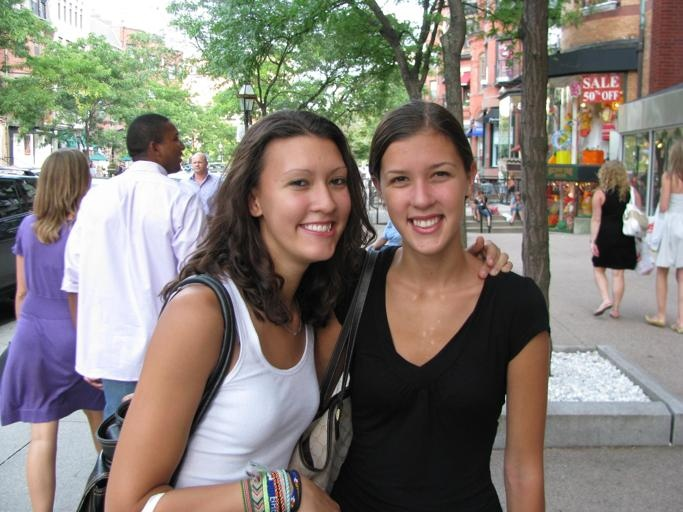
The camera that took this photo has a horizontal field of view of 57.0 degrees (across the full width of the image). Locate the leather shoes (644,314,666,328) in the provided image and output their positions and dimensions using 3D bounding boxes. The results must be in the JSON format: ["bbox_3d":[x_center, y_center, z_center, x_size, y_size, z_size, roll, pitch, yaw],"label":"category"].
[{"bbox_3d":[4.336,0.902,8.695,0.118,0.137,0.307,-2,10,-20],"label":"leather shoes"}]

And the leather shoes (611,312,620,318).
[{"bbox_3d":[3.988,0.844,9.143,0.126,0.109,0.214,2,8,24],"label":"leather shoes"}]

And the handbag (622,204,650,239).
[{"bbox_3d":[4.152,-0.453,8.947,0.344,0.680,0.651,-3,-3,20],"label":"handbag"}]

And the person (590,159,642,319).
[{"bbox_3d":[3.978,-0.232,9.138,0.637,2.259,0.630,2,8,24],"label":"person"}]
